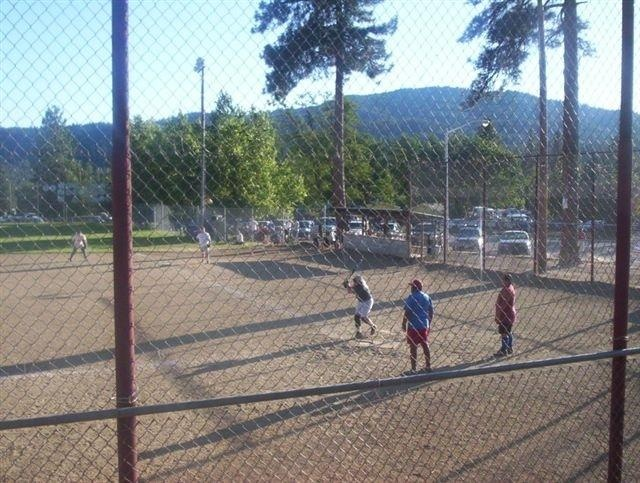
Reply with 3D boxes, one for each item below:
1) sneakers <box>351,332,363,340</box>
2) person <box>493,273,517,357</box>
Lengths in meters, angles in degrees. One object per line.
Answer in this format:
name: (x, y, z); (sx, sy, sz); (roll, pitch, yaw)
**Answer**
sneakers: (0.728, 1.736, 16.072); (0.176, 0.120, 0.275); (0, 4, 2)
person: (3.201, 1.262, 14.773); (0.325, 1.391, 1.119); (0, 4, 12)
